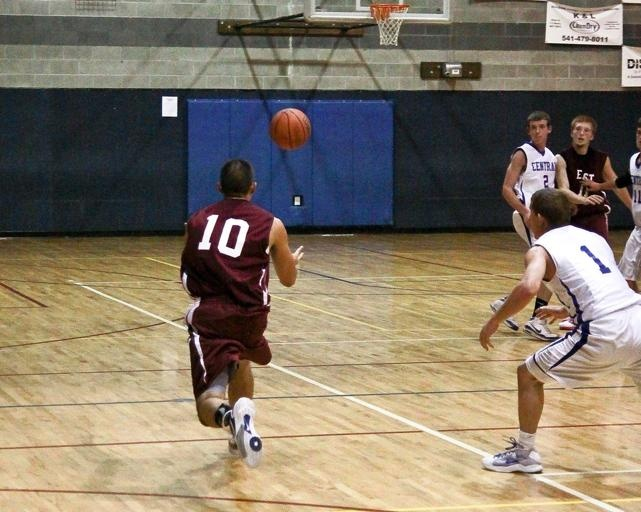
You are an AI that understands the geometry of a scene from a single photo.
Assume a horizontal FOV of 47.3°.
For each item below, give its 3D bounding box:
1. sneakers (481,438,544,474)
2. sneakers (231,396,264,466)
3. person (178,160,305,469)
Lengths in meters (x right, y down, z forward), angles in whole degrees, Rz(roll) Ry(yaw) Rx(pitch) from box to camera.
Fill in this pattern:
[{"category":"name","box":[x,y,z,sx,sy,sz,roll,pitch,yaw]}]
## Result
[{"category":"sneakers","box":[0.897,0.943,3.469,0.334,0.185,0.117,2,0,5]},{"category":"sneakers","box":[-0.308,0.734,3.079,0.120,0.284,0.200,0,7,-5]},{"category":"person","box":[-0.384,0.193,3.282,0.532,1.249,0.725,1,7,2]}]
